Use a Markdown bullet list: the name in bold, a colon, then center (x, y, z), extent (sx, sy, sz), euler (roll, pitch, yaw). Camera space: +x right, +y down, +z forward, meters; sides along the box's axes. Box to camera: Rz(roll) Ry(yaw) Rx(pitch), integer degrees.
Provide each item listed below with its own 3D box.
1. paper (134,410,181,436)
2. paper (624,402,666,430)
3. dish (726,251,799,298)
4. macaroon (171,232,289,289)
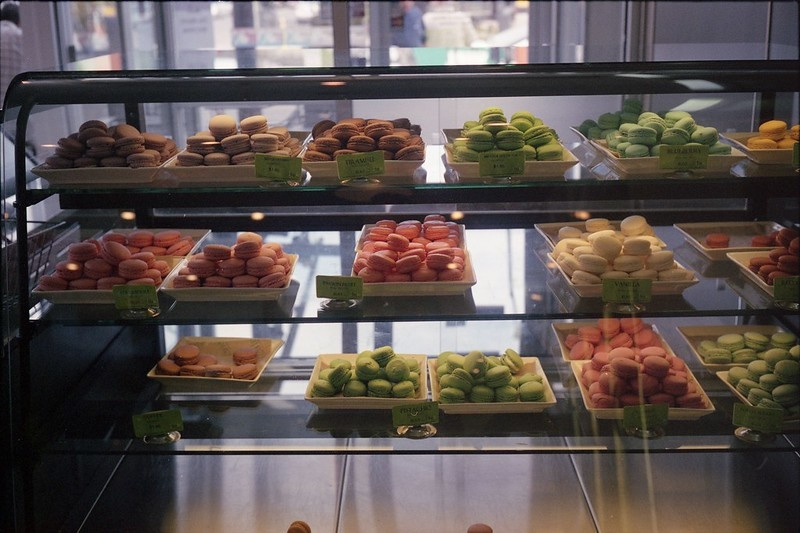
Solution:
- **paper**: center (-0.949, 0.617, 2.361), extent (0.142, 0.068, 0.017), euler (-3, 16, -8)
- **paper**: center (0.961, 0.578, 2.393), extent (0.184, 0.098, 0.041), euler (0, 8, 2)
- **dish**: center (1.368, 0.021, 2.315), extent (0.147, 0.025, 0.193), euler (-2, 29, 0)
- **macaroon**: center (-0.628, -0.011, 2.292), extent (0.330, 0.091, 0.258), euler (-1, 11, -1)
